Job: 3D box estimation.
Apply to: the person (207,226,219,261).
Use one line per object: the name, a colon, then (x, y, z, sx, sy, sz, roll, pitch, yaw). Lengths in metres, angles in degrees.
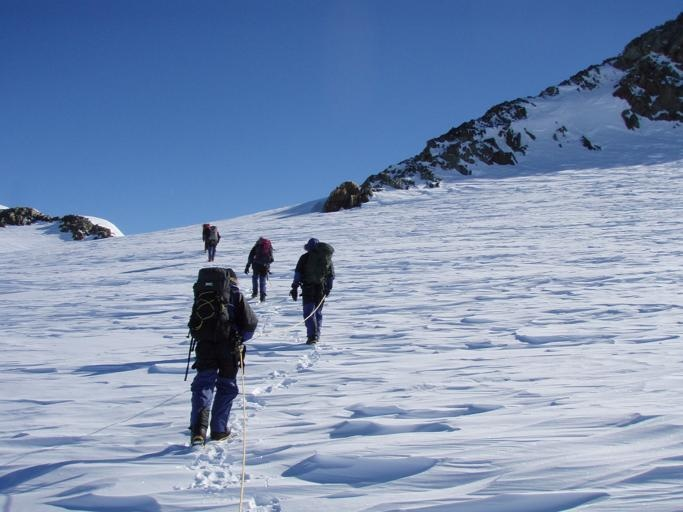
person: (-4.858, -0.447, 30.394, 0.450, 1.402, 1.058, -4, -9, -10)

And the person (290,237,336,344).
person: (-0.689, 0.828, 19.626, 1.125, 2.621, 0.982, -5, -10, -3)

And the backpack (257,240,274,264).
backpack: (-2.189, -0.178, 22.758, 0.377, 0.722, 0.383, -6, -9, 2)

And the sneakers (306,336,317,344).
sneakers: (-0.721, 2.001, 19.182, 0.300, 0.192, 0.147, -2, -9, -8)

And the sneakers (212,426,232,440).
sneakers: (-2.272, 3.396, 15.347, 0.174, 0.121, 0.416, 5, 5, 32)
